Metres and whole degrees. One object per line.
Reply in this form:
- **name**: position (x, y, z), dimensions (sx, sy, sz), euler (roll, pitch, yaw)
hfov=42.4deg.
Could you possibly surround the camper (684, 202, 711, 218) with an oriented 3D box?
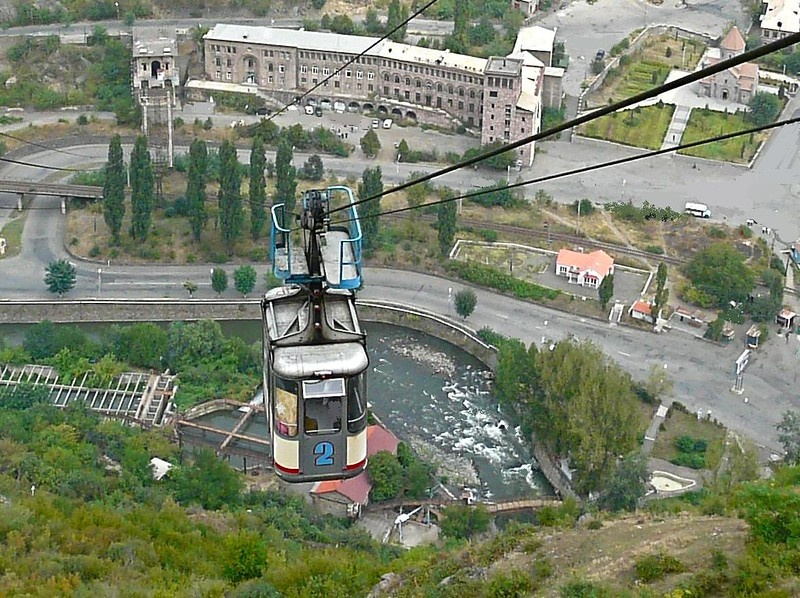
- **camper**: position (16.472, -4.922, 56.530), dimensions (1.054, 0.552, 0.887), euler (7, 45, 11)

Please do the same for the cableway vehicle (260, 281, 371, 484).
- **cableway vehicle**: position (-2.148, 1.131, 25.452), dimensions (2.071, 5.260, 5.699), euler (-2, 19, -9)

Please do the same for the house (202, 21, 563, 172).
- **house**: position (-0.617, -13.388, 65.005), dimensions (20.846, 6.018, 7.147), euler (11, 21, 16)

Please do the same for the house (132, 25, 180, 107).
- **house**: position (-15.192, -14.873, 63.722), dimensions (2.622, 2.362, 6.306), euler (-6, 26, -11)

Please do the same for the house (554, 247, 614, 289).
- **house**: position (9.201, -1.663, 51.141), dimensions (1.999, 1.053, 2.147), euler (18, 41, 12)
